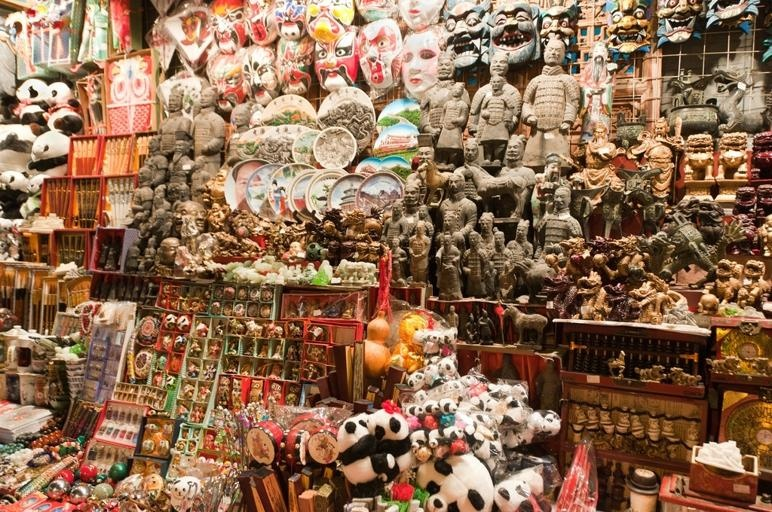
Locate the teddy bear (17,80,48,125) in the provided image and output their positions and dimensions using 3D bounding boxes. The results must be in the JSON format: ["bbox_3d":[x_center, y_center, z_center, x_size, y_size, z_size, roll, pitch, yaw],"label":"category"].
[{"bbox_3d":[-4.874,-2.123,8.356,0.593,0.669,0.206,-2,-2,20],"label":"teddy bear"}]

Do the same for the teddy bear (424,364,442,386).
[{"bbox_3d":[0.353,0.887,4.487,0.104,0.143,0.065,-25,-21,22],"label":"teddy bear"}]

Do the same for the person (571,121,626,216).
[{"bbox_3d":[1.872,-0.771,5.353,0.439,0.847,0.417,-1,-2,17],"label":"person"}]

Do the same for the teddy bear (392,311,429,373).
[{"bbox_3d":[0.207,0.686,4.853,0.275,0.476,0.383,-1,-3,18],"label":"teddy bear"}]

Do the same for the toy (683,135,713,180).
[{"bbox_3d":[2.712,-0.840,5.178,0.254,0.384,0.106,-1,-2,7],"label":"toy"}]

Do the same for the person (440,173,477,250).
[{"bbox_3d":[0.630,-0.317,5.449,0.345,0.831,0.254,-2,-2,36],"label":"person"}]

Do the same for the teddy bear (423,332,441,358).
[{"bbox_3d":[0.355,0.694,4.675,0.166,0.229,0.160,4,-8,2],"label":"teddy bear"}]

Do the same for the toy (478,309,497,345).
[{"bbox_3d":[0.821,0.572,4.899,0.139,0.277,0.066,-1,-2,10],"label":"toy"}]

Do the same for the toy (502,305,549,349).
[{"bbox_3d":[1.115,0.567,4.776,0.304,0.272,0.097,4,11,23],"label":"toy"}]

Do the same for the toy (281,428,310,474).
[{"bbox_3d":[-0.630,1.373,4.220,0.166,0.338,0.285,2,2,9],"label":"toy"}]

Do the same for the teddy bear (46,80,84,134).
[{"bbox_3d":[-4.401,-2.006,8.272,0.416,0.796,0.527,1,-3,-31],"label":"teddy bear"}]

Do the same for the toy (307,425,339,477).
[{"bbox_3d":[-0.415,1.325,4.205,0.259,0.276,0.260,6,4,19],"label":"toy"}]

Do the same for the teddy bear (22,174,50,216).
[{"bbox_3d":[-4.598,-0.780,7.868,0.424,0.591,0.190,-2,-2,20],"label":"teddy bear"}]

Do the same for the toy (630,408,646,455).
[{"bbox_3d":[1.850,1.286,4.426,0.097,0.305,0.094,-5,-5,-11],"label":"toy"}]

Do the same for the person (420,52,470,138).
[{"bbox_3d":[0.579,-1.522,6.002,0.446,0.916,0.255,4,-7,18],"label":"person"}]

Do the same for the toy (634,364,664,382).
[{"bbox_3d":[1.887,0.817,4.291,0.150,0.063,0.113,-3,11,-16],"label":"toy"}]

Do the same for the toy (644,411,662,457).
[{"bbox_3d":[1.931,1.277,4.366,0.084,0.268,0.109,2,8,16],"label":"toy"}]

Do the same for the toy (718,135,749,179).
[{"bbox_3d":[3.002,-0.863,5.205,0.218,0.387,0.371,4,11,26],"label":"toy"}]

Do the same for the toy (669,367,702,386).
[{"bbox_3d":[2.102,0.855,4.292,0.279,0.125,0.092,5,2,25],"label":"toy"}]

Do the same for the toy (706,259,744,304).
[{"bbox_3d":[2.521,0.194,4.468,0.189,0.338,0.221,19,-14,-12],"label":"toy"}]

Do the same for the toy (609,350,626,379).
[{"bbox_3d":[1.676,0.782,4.360,0.115,0.195,0.058,-2,-2,27],"label":"toy"}]

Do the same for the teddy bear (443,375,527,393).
[{"bbox_3d":[0.726,0.948,4.459,0.306,0.115,0.275,9,-10,-29],"label":"teddy bear"}]

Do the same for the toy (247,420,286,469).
[{"bbox_3d":[-0.859,1.335,4.355,0.282,0.303,0.162,9,17,29],"label":"toy"}]

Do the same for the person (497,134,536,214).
[{"bbox_3d":[1.199,-0.722,5.509,0.316,0.811,0.384,-1,-2,2],"label":"person"}]

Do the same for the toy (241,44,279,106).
[{"bbox_3d":[-1.464,-2.082,6.978,0.457,0.715,0.229,-1,-2,-4],"label":"toy"}]

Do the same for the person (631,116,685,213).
[{"bbox_3d":[2.415,-0.826,5.326,0.438,0.765,0.273,0,-2,-8],"label":"person"}]

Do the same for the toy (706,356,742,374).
[{"bbox_3d":[2.355,0.762,4.230,0.240,0.123,0.084,0,-1,22],"label":"toy"}]

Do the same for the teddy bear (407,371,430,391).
[{"bbox_3d":[0.224,0.914,4.466,0.113,0.113,0.142,-5,3,6],"label":"teddy bear"}]

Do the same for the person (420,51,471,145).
[{"bbox_3d":[0.565,-1.460,5.982,0.499,1.132,0.312,-2,-17,13],"label":"person"}]

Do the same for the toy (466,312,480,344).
[{"bbox_3d":[0.705,0.585,4.933,0.110,0.235,0.065,-1,-2,8],"label":"toy"}]

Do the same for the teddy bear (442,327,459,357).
[{"bbox_3d":[0.511,0.680,4.829,0.099,0.204,0.336,-1,-3,13],"label":"teddy bear"}]

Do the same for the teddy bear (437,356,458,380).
[{"bbox_3d":[0.475,0.834,4.493,0.147,0.152,0.133,21,-18,-27],"label":"teddy bear"}]

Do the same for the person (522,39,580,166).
[{"bbox_3d":[1.546,-1.449,5.698,0.501,1.242,0.318,4,-6,24],"label":"person"}]
